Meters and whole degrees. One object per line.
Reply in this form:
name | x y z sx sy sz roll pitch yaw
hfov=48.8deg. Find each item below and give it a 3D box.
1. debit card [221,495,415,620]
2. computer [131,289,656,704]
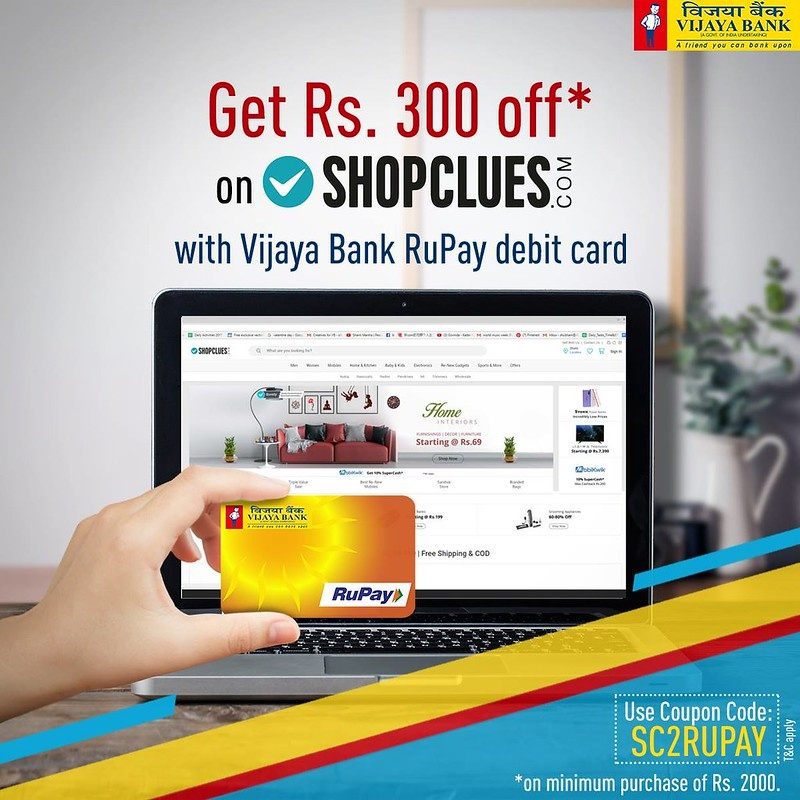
debit card | -0.106 0.190 1.061 0.235 0.159 0.003 0 -34 -1
computer | 0.027 0.083 1.315 0.611 0.457 0.776 5 11 0
